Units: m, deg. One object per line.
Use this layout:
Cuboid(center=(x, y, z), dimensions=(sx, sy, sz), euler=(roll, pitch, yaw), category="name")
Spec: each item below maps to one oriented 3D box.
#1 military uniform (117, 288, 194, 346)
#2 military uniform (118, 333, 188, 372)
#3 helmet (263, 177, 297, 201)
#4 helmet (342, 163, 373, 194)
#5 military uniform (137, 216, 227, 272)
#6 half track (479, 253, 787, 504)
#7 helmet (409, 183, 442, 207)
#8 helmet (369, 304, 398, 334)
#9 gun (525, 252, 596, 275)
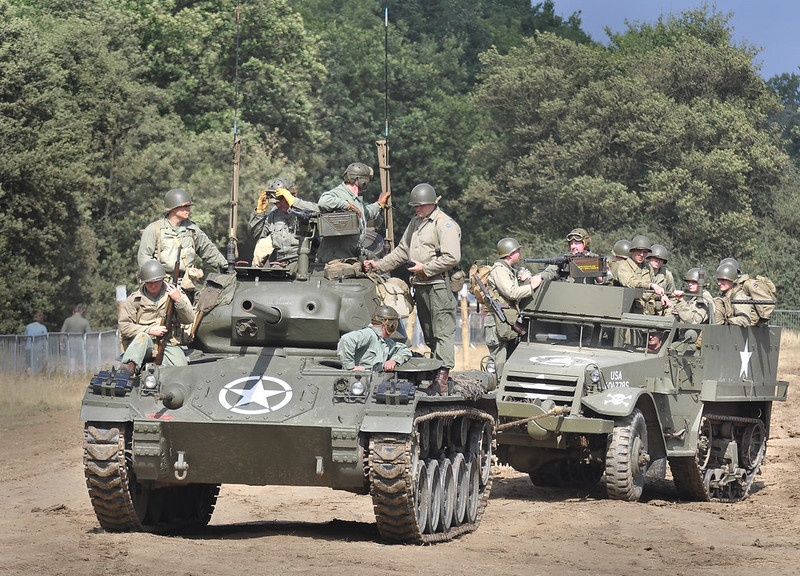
Cuboid(center=(-4.625, 0.496, 27.534), dimensions=(1.413, 1.587, 0.894), euler=(3, -12, -16), category="military uniform")
Cuboid(center=(-4.729, 1.220, 27.481), dimensions=(0.815, 0.864, 0.652), euler=(1, -1, -20), category="military uniform")
Cuboid(center=(-2.399, -2.114, 29.844), dimensions=(0.382, 0.537, 0.531), euler=(3, 11, -23), category="helmet")
Cuboid(center=(-0.801, -2.253, 29.056), dimensions=(0.568, 0.658, 0.515), euler=(-3, 13, -21), category="helmet")
Cuboid(center=(-4.416, -0.891, 28.995), dimensions=(1.069, 1.708, 1.257), euler=(-4, 5, -42), category="military uniform")
Cuboid(center=(5.159, 2.370, 32.649), dimensions=(4.549, 5.431, 7.603), euler=(2, 0, 41), category="half track")
Cuboid(center=(0.586, -1.854, 28.991), dimensions=(0.556, 0.338, 0.418), euler=(3, 2, -44), category="helmet")
Cuboid(center=(-0.265, 0.573, 27.311), dimensions=(0.480, 0.543, 0.423), euler=(-18, 25, -36), category="helmet")
Cuboid(center=(3.666, -0.596, 31.827), dimensions=(1.414, 0.527, 0.649), euler=(2, -1, 8), category="gun")
